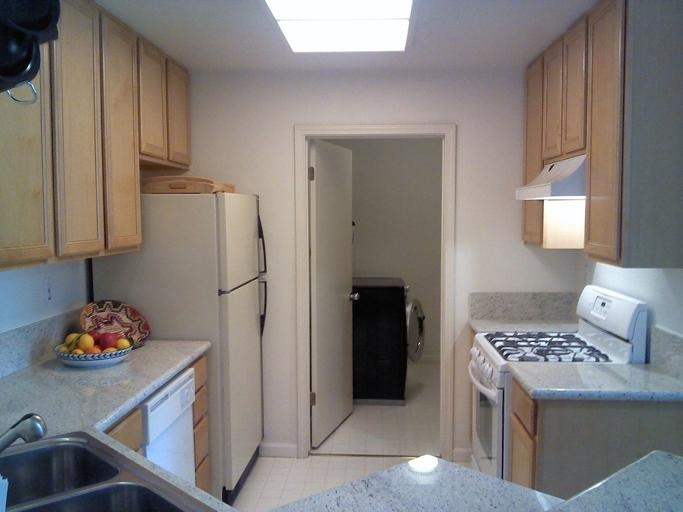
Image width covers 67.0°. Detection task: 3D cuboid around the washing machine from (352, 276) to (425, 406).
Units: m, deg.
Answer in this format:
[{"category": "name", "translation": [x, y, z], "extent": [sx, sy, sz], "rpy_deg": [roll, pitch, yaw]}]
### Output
[{"category": "washing machine", "translation": [0.327, 0.677, 4.731], "extent": [0.853, 1.243, 0.872], "rpy_deg": [-1, 4, 2]}]

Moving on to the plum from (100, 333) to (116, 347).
[{"category": "plum", "translation": [-1.176, 0.426, 2.635], "extent": [0.066, 0.070, 0.068], "rpy_deg": [-1, 2, 4]}]

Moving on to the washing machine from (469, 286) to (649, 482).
[{"category": "washing machine", "translation": [1.145, 0.707, 2.893], "extent": [0.820, 1.046, 0.731], "rpy_deg": [0, 8, -12]}]

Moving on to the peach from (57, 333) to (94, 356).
[{"category": "peach", "translation": [-1.303, 0.439, 2.540], "extent": [0.108, 0.071, 0.147], "rpy_deg": [2, -2, 39]}]

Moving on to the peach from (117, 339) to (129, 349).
[{"category": "peach", "translation": [-1.103, 0.447, 2.632], "extent": [0.049, 0.051, 0.048], "rpy_deg": [17, 3, -13]}]
